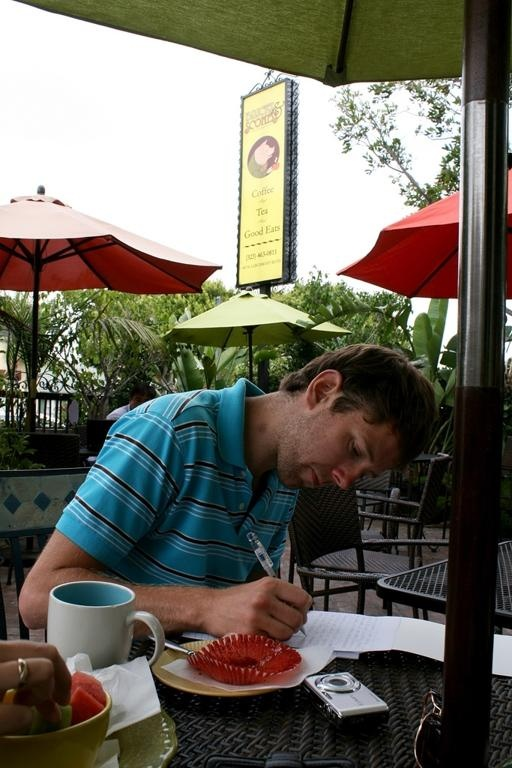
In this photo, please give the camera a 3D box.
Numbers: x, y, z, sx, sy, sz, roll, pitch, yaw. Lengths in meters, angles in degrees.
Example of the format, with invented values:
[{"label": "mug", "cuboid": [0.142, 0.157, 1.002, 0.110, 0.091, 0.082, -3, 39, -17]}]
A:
[{"label": "camera", "cuboid": [0.126, 0.454, 0.870, 0.086, 0.038, 0.135, 4, -6, -22]}]
